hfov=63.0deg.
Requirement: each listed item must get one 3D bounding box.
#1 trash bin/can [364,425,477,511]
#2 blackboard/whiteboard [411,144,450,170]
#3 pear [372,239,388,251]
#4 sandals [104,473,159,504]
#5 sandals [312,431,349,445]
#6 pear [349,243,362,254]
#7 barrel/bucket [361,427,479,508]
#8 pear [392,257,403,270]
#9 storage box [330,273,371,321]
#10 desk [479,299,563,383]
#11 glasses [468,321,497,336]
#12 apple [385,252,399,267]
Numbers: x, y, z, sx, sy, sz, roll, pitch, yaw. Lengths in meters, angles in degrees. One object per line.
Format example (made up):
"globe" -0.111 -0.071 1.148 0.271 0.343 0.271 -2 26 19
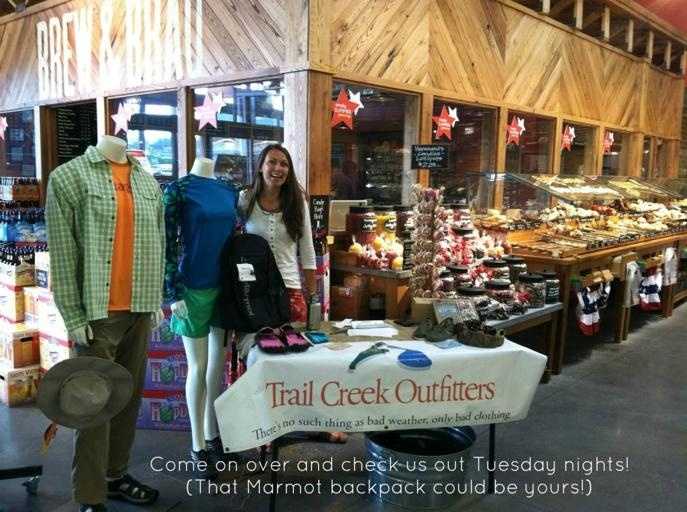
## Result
"trash bin/can" 0.458 1.267 3.383 0.587 0.236 0.555 -4 -7 26
"blackboard/whiteboard" 0.873 -1.020 5.695 0.391 0.240 0.183 1 14 -3
"pear" 0.312 -0.104 4.966 0.117 0.096 0.062 -12 -4 20
"sandals" -1.257 1.371 3.351 0.325 0.115 0.138 5 1 1
"sandals" -0.099 1.277 4.003 0.245 0.061 0.219 -1 -4 10
"pear" 0.119 -0.083 4.997 0.104 0.100 0.091 4 31 24
"barrel/bucket" 0.467 1.256 3.392 0.596 0.234 0.534 -2 -4 15
"pear" 0.458 0.050 4.793 0.094 0.106 0.084 3 14 6
"storage box" 0.064 0.362 4.923 0.298 0.422 0.517 -1 1 -42
"desk" 1.292 0.585 4.052 0.325 0.443 0.932 7 12 40
"glasses" 0.838 0.434 3.416 0.190 0.065 0.223 3 2 4
"apple" 0.406 0.019 4.839 0.150 0.122 0.109 2 -4 30
